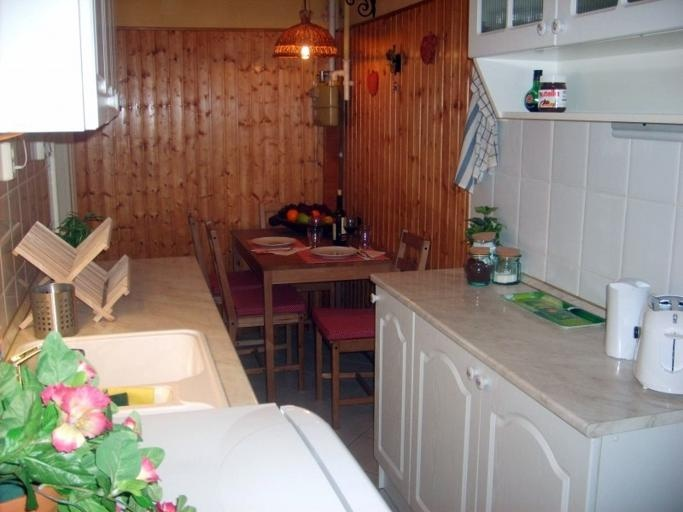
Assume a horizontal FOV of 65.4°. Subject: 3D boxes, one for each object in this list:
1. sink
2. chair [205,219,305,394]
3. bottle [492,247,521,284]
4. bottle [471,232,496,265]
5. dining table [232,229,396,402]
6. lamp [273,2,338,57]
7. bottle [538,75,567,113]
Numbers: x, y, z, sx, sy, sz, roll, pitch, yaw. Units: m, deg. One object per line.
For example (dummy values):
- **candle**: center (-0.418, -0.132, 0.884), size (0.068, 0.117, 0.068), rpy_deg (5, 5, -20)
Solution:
- **sink**: center (-0.656, 0.357, 1.772), size (0.434, 0.177, 0.366), rpy_deg (7, 13, -20)
- **chair**: center (-0.492, 0.321, 3.266), size (0.635, 1.298, 0.671), rpy_deg (-5, 22, -14)
- **bottle**: center (0.700, 0.044, 2.257), size (0.135, 0.153, 0.110), rpy_deg (-1, 12, -8)
- **bottle**: center (0.625, -0.041, 2.332), size (0.123, 0.153, 0.129), rpy_deg (5, 7, 41)
- **dining table**: center (-0.197, 0.589, 3.581), size (0.802, 0.842, 1.573), rpy_deg (-2, 15, -13)
- **lamp**: center (-0.227, -1.493, 3.530), size (0.338, 0.418, 0.364), rpy_deg (4, 23, 7)
- **bottle**: center (0.797, -0.606, 2.002), size (0.114, 0.147, 0.123), rpy_deg (1, 9, 0)
